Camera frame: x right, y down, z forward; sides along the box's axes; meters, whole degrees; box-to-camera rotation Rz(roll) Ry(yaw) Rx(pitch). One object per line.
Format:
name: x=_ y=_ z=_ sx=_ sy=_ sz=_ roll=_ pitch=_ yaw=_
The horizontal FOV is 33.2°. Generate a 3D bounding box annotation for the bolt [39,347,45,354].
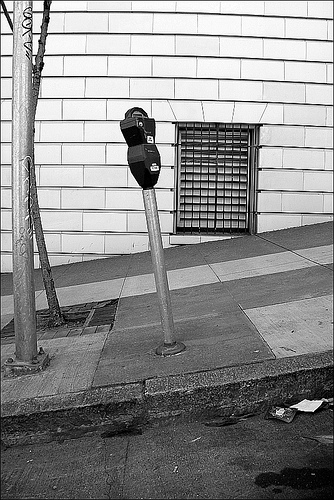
bolt: x=-0.932 y=0.756 z=4.168 sx=0.031 sy=0.043 sz=0.035 roll=0 pitch=0 yaw=22

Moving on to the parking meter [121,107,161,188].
parking meter: x=-0.171 y=-0.703 z=3.923 sx=0.154 sy=0.612 sz=0.189 roll=-15 pitch=-7 yaw=37

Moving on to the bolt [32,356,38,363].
bolt: x=-0.930 y=0.776 z=3.937 sx=0.029 sy=0.037 sz=0.034 roll=-1 pitch=-6 yaw=-1

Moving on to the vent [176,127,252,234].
vent: x=0.832 y=-1.198 z=9.779 sx=1.315 sy=1.853 sz=0.161 roll=-3 pitch=12 yaw=-5
